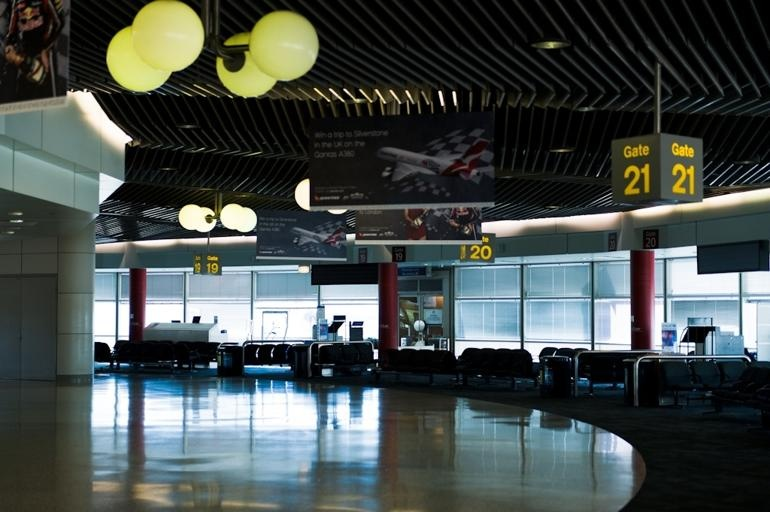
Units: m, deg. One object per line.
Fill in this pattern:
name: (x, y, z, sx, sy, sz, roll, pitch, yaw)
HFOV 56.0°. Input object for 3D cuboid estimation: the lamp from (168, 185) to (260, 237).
lamp: (-3.323, -0.793, 15.140, 1.502, 1.301, 1.504, -3, -7, 25)

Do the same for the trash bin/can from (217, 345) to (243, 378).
trash bin/can: (-4.292, 2.958, 20.489, 0.725, 0.925, 0.810, 0, -10, -3)

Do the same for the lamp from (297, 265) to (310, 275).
lamp: (-3.035, 0.471, 26.721, 0.372, 0.231, 0.377, -3, -5, 22)

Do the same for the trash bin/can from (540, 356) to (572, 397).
trash bin/can: (3.554, 2.477, 15.045, 0.804, 0.802, 0.736, 4, -8, -19)
